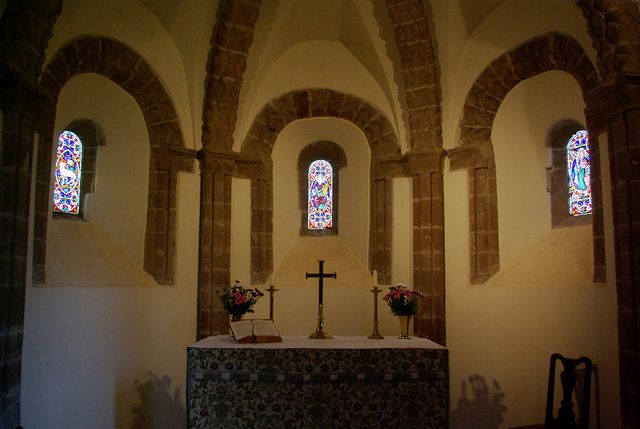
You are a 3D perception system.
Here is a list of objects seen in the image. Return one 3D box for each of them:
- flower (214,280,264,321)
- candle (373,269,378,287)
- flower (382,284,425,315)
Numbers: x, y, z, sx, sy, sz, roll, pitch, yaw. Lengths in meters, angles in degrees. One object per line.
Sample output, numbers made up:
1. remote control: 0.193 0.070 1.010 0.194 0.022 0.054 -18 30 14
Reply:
1. flower: -1.495 1.569 9.167 0.629 0.690 0.736 2 8 -5
2. candle: 1.134 1.302 10.620 0.113 0.337 0.337 -1 -11 6
3. flower: 1.362 1.457 8.633 0.469 0.501 0.476 6 -9 -32
